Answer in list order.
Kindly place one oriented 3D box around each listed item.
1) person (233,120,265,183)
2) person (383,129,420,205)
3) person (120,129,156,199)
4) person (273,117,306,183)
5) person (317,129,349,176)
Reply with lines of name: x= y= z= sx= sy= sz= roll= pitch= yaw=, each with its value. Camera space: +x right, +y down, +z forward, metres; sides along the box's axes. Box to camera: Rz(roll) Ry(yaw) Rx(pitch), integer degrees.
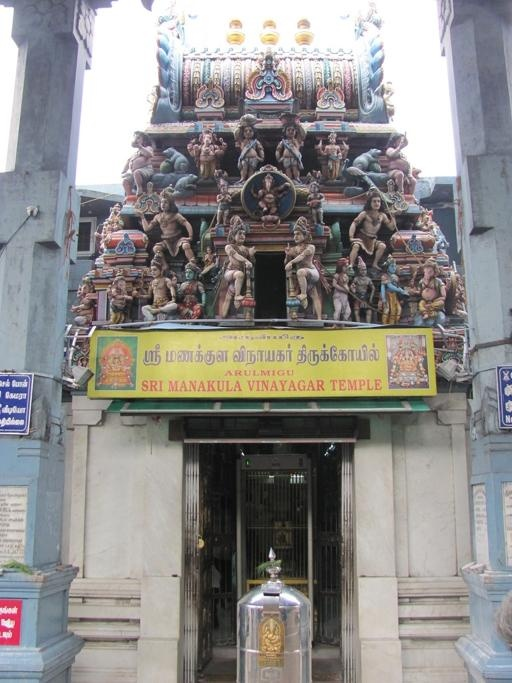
person: x=-0.116 y=-2.883 z=11.534 sx=0.410 sy=1.113 sz=0.647 roll=-1 pitch=-12 yaw=-2
person: x=2.272 y=-2.726 z=11.975 sx=0.501 sy=1.195 sz=0.595 roll=-4 pitch=-13 yaw=12
person: x=-1.860 y=-2.757 z=11.969 sx=0.489 sy=1.172 sz=0.616 roll=1 pitch=-13 yaw=-9
person: x=0.536 y=-2.852 z=11.784 sx=0.453 sy=1.072 sz=0.790 roll=-2 pitch=-12 yaw=3
person: x=1.192 y=-2.873 z=11.959 sx=0.477 sy=0.943 sz=0.447 roll=-2 pitch=-13 yaw=2
